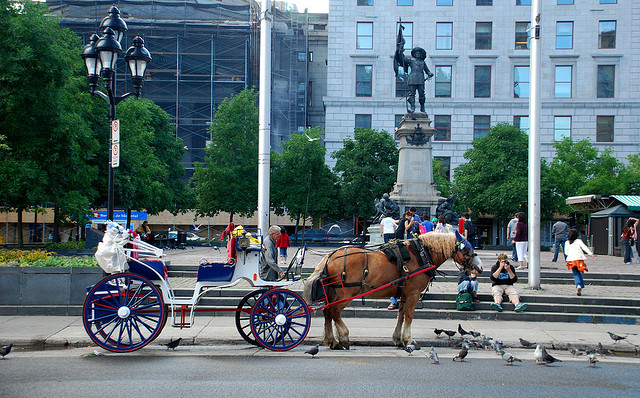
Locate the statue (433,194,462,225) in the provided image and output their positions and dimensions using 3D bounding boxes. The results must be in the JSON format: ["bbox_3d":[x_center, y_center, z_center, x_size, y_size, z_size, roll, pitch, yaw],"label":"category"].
[{"bbox_3d":[9.941,0.750,96.561,2.481,3.006,2.096,4,0,11],"label":"statue"}]

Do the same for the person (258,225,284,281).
[{"bbox_3d":[-3.328,3.712,83.712,1.482,3.675,0.811,-1,2,-13],"label":"person"}]

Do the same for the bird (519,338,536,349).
[{"bbox_3d":[14.018,9.857,83.584,0.951,0.654,0.502,-1,2,6],"label":"bird"}]

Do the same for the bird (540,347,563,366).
[{"bbox_3d":[15.292,10.526,82.426,1.264,1.243,0.405,-1,2,-1],"label":"bird"}]

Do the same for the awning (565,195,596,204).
[{"bbox_3d":[22.329,0.025,105.991,0.957,0.771,4.343,-1,1,-11],"label":"awning"}]

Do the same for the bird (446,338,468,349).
[{"bbox_3d":[9.277,9.847,83.582,1.315,0.484,0.651,-6,-10,43],"label":"bird"}]

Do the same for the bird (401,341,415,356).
[{"bbox_3d":[6.059,10.145,83.242,0.588,0.824,0.793,-1,2,9],"label":"bird"}]

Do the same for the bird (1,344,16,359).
[{"bbox_3d":[-20.817,10.192,82.512,0.672,0.979,0.747,-1,2,-9],"label":"bird"}]

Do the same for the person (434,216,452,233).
[{"bbox_3d":[9.106,1.920,91.824,1.245,2.385,0.806,1,10,11],"label":"person"}]

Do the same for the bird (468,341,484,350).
[{"bbox_3d":[10.517,9.946,83.502,0.809,0.444,0.495,-2,-4,35],"label":"bird"}]

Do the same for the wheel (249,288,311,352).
[{"bbox_3d":[-2.690,8.221,83.262,4.587,3.977,1.189,4,5,4],"label":"wheel"}]
